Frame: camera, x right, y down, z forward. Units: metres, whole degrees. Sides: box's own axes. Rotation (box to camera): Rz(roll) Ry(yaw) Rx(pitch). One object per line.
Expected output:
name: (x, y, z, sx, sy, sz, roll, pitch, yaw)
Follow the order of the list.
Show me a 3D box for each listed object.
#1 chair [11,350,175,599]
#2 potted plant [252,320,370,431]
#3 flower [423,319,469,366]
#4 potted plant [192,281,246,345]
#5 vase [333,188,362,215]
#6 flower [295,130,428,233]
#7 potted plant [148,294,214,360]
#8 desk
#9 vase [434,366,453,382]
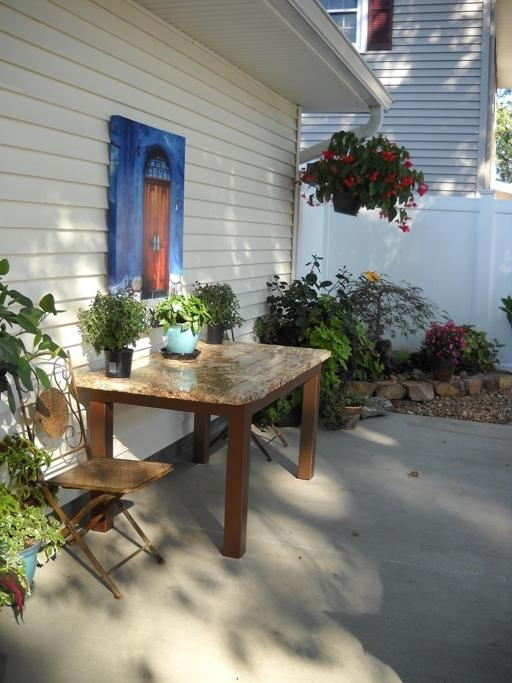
chair: (-0.750, 0.522, 2.806, 0.960, 1.488, 0.735, 5, 9, 17)
potted plant: (0.592, 0.294, 5.265, 1.246, 1.008, 0.887, -2, 5, -37)
flower: (2.342, -0.004, 6.432, 0.483, 0.514, 0.466, 3, 3, 16)
potted plant: (-0.245, -0.268, 3.901, 0.430, 0.605, 0.552, -1, 9, 2)
vase: (0.818, -1.248, 4.591, 0.224, 0.144, 0.220, 3, 1, 21)
flower: (0.937, -1.453, 4.471, 0.974, 0.787, 0.511, 3, 3, 18)
potted plant: (-0.417, -0.109, 3.147, 0.379, 0.363, 0.369, 2, 9, 3)
desk: (-0.231, 0.562, 3.153, 1.027, 0.839, 1.598, 4, 6, 21)
vase: (2.313, 0.392, 6.316, 0.195, 0.170, 0.202, 0, 1, -2)
